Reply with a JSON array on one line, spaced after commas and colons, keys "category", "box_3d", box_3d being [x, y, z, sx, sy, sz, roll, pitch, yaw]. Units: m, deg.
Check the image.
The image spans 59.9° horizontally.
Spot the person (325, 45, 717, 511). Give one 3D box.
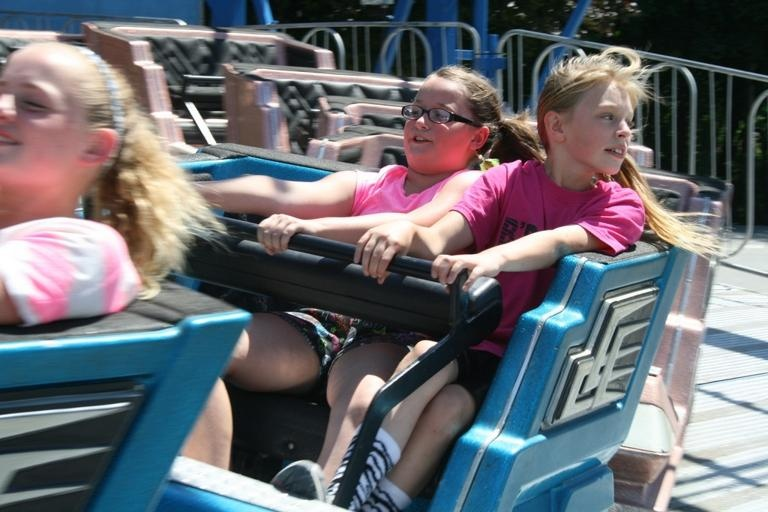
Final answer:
[{"category": "person", "box_3d": [0.304, -0.011, 1.527, 1.070, 0.985, 0.444, -7, 22, -36]}]

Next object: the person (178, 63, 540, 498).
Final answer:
[{"category": "person", "box_3d": [0.005, 0.019, 1.806, 0.721, 0.966, 0.866, 14, 7, 40]}]
